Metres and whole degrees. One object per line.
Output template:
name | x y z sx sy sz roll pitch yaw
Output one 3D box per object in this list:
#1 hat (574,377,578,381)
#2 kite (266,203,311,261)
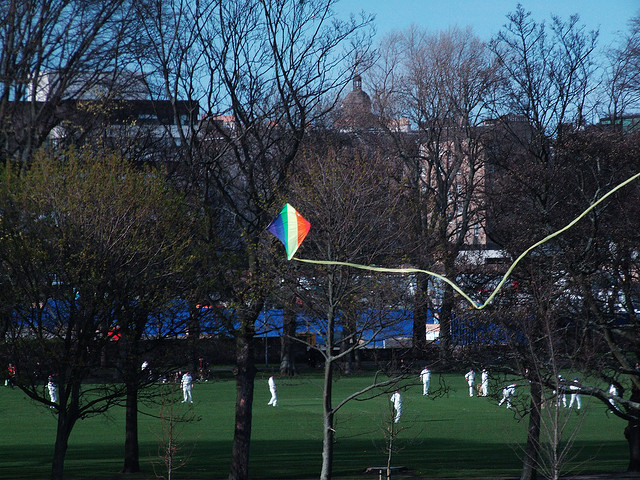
hat | 10.047 5.390 48.031 0.181 0.105 0.179 3 -8 -18
kite | -1.242 -0.399 44.984 0.178 2.515 2.051 -8 7 -35
